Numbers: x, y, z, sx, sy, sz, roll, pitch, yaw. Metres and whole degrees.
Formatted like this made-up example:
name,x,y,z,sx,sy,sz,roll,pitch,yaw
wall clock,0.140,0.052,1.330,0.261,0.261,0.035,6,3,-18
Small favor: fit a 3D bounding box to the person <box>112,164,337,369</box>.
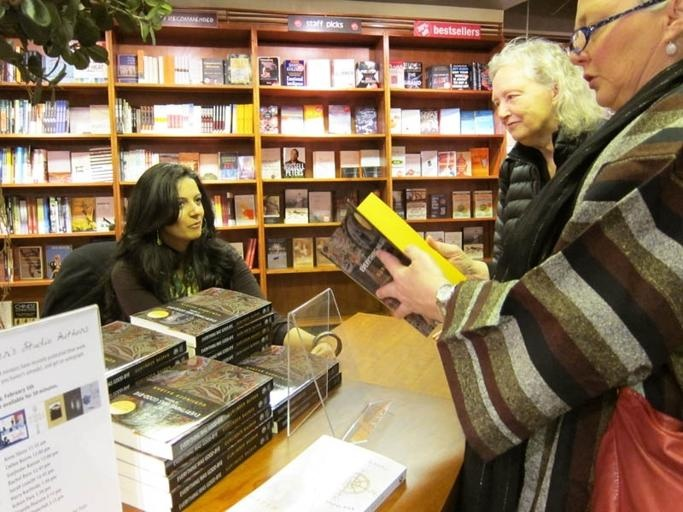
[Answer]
name,x,y,z,sx,sy,sz,roll,pitch,yaw
person,-0.706,0.116,2.512,0.991,0.999,0.739,14,23,27
